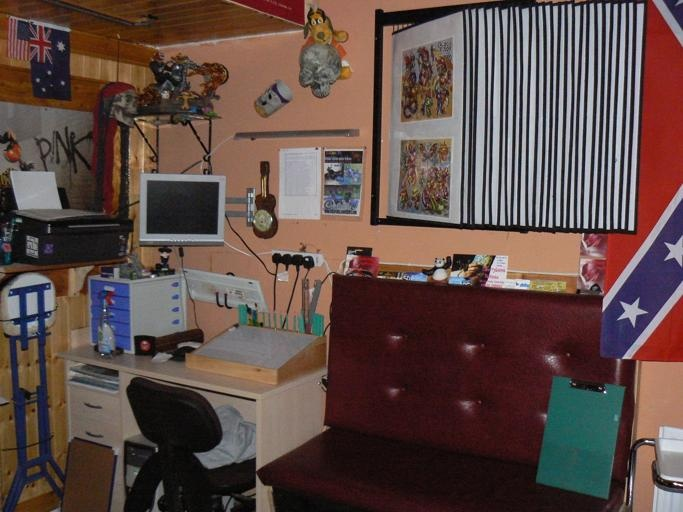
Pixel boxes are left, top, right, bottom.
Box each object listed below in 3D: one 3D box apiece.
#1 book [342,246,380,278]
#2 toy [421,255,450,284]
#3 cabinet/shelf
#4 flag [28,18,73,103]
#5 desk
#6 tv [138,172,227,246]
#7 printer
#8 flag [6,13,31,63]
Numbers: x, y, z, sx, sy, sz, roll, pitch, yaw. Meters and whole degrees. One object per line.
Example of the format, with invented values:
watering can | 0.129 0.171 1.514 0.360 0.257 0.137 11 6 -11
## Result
book | 0.123 0.035 3.610 0.170 0.189 0.052 4 -15 30
toy | 0.557 0.084 3.388 0.191 0.216 0.120 0 -29 17
cabinet/shelf | -1.350 0.334 4.016 0.473 0.527 0.501 1 1 37
flag | -1.787 -1.193 3.713 0.231 0.435 0.070 -4 9 -35
desk | -0.808 0.997 3.583 1.324 1.020 0.980 7 7 34
tv | -1.024 -0.296 3.870 0.537 0.439 0.045 1 3 3
printer | -1.759 -0.284 3.840 0.536 0.567 0.549 6 8 29
flag | -1.909 -1.286 3.569 0.118 0.240 0.034 -3 8 -31
